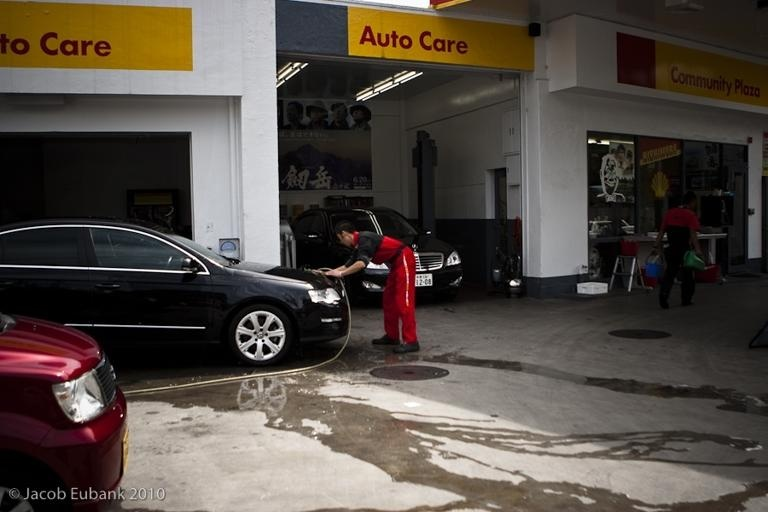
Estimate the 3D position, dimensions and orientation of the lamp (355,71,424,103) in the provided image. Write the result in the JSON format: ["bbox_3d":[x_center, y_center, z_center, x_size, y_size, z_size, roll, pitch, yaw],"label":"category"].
[{"bbox_3d":[0.023,-4.921,16.560,0.923,0.233,3.717,-3,8,-25],"label":"lamp"}]

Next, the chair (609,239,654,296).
[{"bbox_3d":[6.125,0.208,14.266,0.635,1.112,0.914,15,8,-3],"label":"chair"}]

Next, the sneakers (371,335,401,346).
[{"bbox_3d":[0.019,1.310,9.062,0.454,0.171,0.171,4,2,16],"label":"sneakers"}]

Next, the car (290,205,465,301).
[{"bbox_3d":[-0.685,-0.141,13.249,1.900,1.436,4.140,0,0,-31],"label":"car"}]

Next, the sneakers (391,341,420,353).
[{"bbox_3d":[0.318,1.348,8.536,0.409,0.167,0.154,3,-2,-12],"label":"sneakers"}]

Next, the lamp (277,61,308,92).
[{"bbox_3d":[-2.410,-4.646,14.699,0.252,0.115,1.457,-18,4,-20],"label":"lamp"}]

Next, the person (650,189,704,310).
[{"bbox_3d":[6.212,-0.143,11.987,0.752,2.362,1.333,4,8,26],"label":"person"}]
